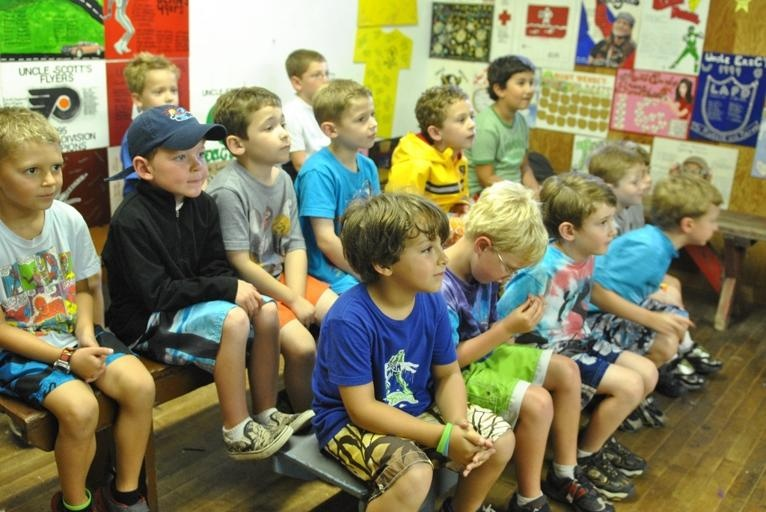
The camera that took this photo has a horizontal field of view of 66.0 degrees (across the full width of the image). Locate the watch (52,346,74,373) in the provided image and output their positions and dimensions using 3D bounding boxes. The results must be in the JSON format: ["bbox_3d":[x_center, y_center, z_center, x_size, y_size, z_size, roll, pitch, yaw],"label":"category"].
[{"bbox_3d":[-1.126,0.371,2.082,0.067,0.079,0.045,-8,15,-33],"label":"watch"}]

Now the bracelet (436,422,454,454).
[{"bbox_3d":[0.206,0.630,2.037,0.020,0.086,0.079,14,3,-5],"label":"bracelet"}]

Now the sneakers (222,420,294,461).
[{"bbox_3d":[-0.492,0.729,2.343,0.249,0.115,0.136,-9,28,26],"label":"sneakers"}]

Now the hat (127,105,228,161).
[{"bbox_3d":[-0.832,-0.500,2.359,0.321,0.165,0.219,-19,7,18],"label":"hat"}]

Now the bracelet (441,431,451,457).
[{"bbox_3d":[0.211,0.637,2.017,0.016,0.067,0.061,11,12,-4],"label":"bracelet"}]

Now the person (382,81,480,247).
[{"bbox_3d":[0.367,-0.522,3.417,0.607,0.831,0.566,10,27,31],"label":"person"}]

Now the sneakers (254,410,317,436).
[{"bbox_3d":[-0.389,0.646,2.363,0.251,0.101,0.099,-7,24,22],"label":"sneakers"}]
